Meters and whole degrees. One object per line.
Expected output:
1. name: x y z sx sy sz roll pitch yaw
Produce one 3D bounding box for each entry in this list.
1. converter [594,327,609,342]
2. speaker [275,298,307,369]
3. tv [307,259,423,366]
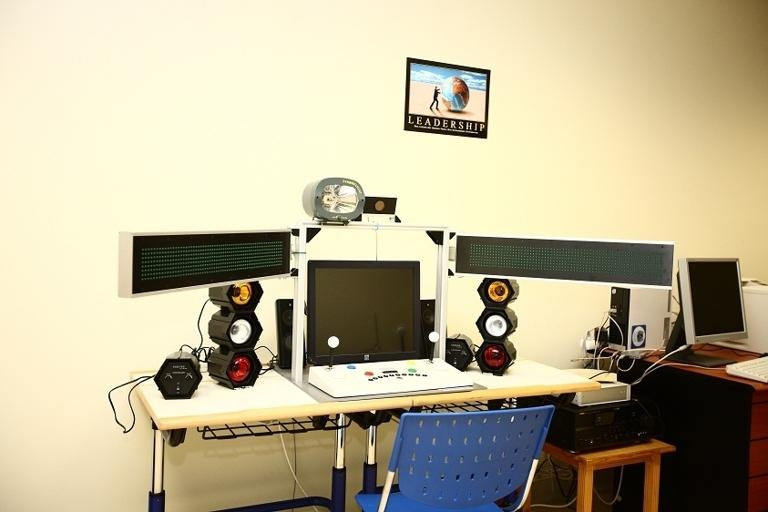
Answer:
1. converter: 1.466 0.527 3.691 0.078 0.063 0.082 4 4 41
2. speaker: -0.513 0.425 2.932 0.075 0.375 0.160 1 1 -37
3. tv: -0.123 0.313 2.880 0.517 0.473 0.053 2 -8 -23
